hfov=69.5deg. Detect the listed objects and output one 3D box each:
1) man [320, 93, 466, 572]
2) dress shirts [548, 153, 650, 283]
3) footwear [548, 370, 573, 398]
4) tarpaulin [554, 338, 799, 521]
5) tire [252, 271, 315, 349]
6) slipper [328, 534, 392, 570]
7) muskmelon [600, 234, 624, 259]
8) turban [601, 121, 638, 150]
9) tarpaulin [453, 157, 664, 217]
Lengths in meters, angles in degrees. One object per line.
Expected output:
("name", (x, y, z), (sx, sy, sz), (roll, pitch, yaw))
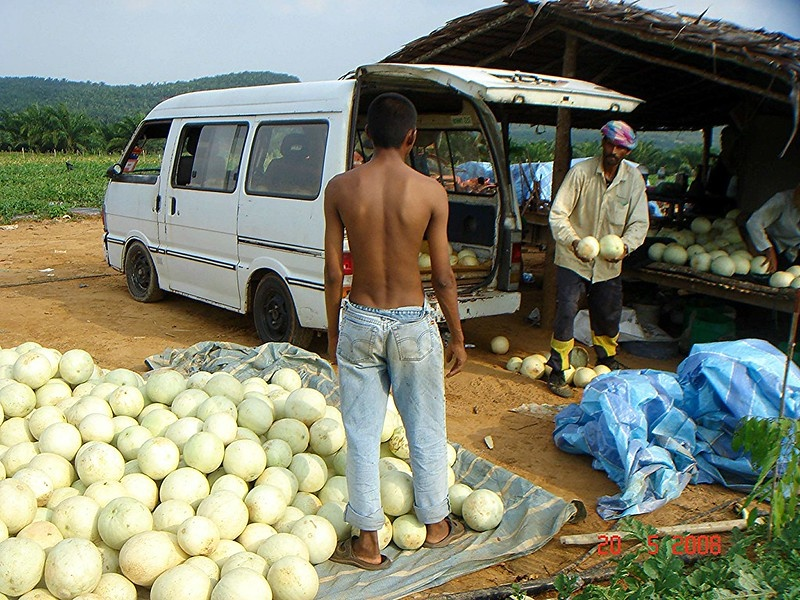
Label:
("man", (-0.023, 0.128, 3.449), (0.848, 2.593, 0.390), (0, 12, -9))
("dress shirts", (1.970, -0.785, 5.747), (0.947, 1.231, 0.487), (-2, 13, -20))
("footwear", (1.639, 0.870, 5.978), (0.151, 0.226, 0.312), (-5, 10, -29))
("tarpaulin", (2.228, 0.877, 4.487), (1.480, 0.568, 1.307), (-25, 32, -4))
("tire", (-1.343, 0.112, 6.470), (0.832, 0.843, 0.273), (11, 15, 34))
("slipper", (-0.230, 1.523, 3.632), (0.416, 0.179, 0.178), (9, 10, 13))
("muskmelon", (2.057, -0.501, 5.611), (0.235, 0.244, 0.203), (6, 13, 17))
("turban", (2.035, -1.534, 5.391), (0.380, 0.249, 0.223), (1, 12, -8))
("tarpaulin", (2.780, -2.463, 12.061), (2.941, 0.838, 2.946), (-1, 8, -18))
